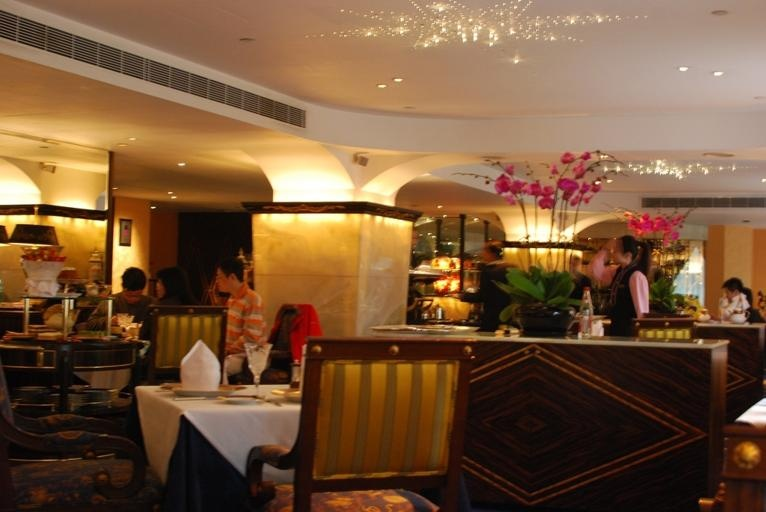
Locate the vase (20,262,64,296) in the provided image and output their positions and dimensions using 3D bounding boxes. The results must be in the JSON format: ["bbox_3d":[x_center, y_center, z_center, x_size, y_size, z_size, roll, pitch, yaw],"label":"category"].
[{"bbox_3d":[-3.004,0.205,5.463,0.422,0.251,0.365,0,-3,-1],"label":"vase"}]

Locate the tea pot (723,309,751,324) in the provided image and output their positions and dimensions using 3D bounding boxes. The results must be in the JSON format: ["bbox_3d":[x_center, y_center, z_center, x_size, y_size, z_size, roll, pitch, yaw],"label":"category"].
[{"bbox_3d":[4.816,0.807,8.098,0.484,0.172,0.337,-3,-4,32],"label":"tea pot"}]

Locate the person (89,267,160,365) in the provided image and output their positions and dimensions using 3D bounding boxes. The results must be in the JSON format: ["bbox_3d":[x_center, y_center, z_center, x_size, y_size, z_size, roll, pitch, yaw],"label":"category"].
[{"bbox_3d":[-2.920,0.695,7.001,1.056,0.906,0.712,-4,3,-29],"label":"person"}]

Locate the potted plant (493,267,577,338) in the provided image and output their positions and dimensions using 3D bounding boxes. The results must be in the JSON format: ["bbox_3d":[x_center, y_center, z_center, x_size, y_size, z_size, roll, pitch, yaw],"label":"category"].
[{"bbox_3d":[1.113,0.329,4.318,0.686,0.325,0.568,-1,-8,11],"label":"potted plant"}]

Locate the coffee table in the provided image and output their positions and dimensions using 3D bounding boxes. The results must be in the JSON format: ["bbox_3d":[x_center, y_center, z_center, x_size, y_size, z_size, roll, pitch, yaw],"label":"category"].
[{"bbox_3d":[-3.107,0.604,6.141,0.960,0.439,0.958,3,-5,-42],"label":"coffee table"}]

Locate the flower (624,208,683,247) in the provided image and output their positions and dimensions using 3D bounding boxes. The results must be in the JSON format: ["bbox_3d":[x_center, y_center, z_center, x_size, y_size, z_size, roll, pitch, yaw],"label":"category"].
[{"bbox_3d":[3.637,-0.402,7.851,0.840,0.293,0.641,2,5,17],"label":"flower"}]

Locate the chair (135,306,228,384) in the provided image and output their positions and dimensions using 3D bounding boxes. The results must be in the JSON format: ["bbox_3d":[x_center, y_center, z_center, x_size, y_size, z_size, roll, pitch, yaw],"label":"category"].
[{"bbox_3d":[-1.553,0.667,4.741,0.786,0.812,0.712,1,-2,-10],"label":"chair"}]

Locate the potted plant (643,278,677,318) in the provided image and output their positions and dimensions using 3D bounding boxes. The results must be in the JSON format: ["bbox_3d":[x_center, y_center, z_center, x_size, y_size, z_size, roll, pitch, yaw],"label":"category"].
[{"bbox_3d":[3.252,0.472,6.939,0.576,0.405,0.511,0,-5,19],"label":"potted plant"}]

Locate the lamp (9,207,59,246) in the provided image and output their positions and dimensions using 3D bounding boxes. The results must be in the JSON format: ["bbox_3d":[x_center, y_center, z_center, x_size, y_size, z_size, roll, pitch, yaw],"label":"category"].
[{"bbox_3d":[-4.708,-0.373,8.155,0.616,0.445,0.537,-5,-13,21],"label":"lamp"}]
